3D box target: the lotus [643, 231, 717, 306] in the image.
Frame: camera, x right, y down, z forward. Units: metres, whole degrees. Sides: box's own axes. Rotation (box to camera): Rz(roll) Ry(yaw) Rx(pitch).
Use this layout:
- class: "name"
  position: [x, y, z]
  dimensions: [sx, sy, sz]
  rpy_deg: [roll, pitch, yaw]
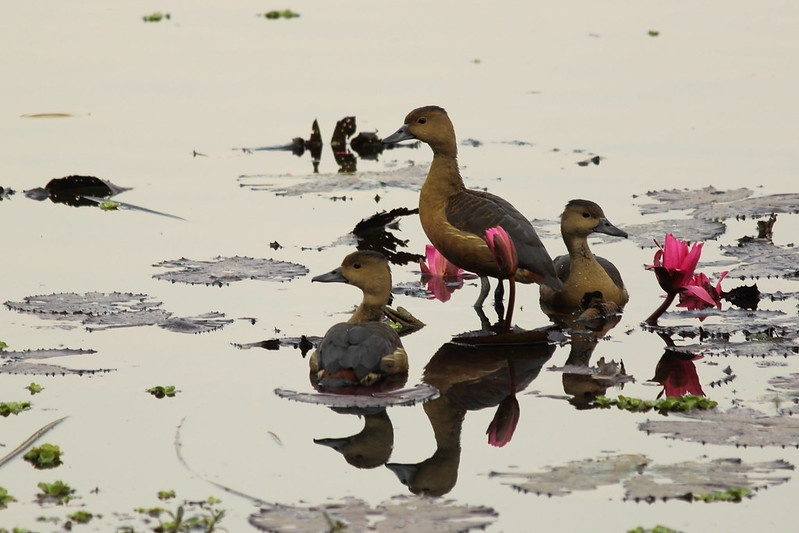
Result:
- class: "lotus"
  position: [3.150, 0.053, 13.410]
  dimensions: [1.173, 0.558, 1.264]
  rpy_deg: [0, -6, 8]

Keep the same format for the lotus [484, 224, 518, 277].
- class: "lotus"
  position: [1.098, -0.151, 13.158]
  dimensions: [0.238, 0.510, 0.259]
  rpy_deg: [-15, -3, 10]

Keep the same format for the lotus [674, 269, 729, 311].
- class: "lotus"
  position: [3.403, 0.204, 14.102]
  dimensions: [0.637, 0.244, 0.634]
  rpy_deg: [0, 24, 32]

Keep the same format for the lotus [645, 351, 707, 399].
- class: "lotus"
  position: [2.863, 1.127, 12.756]
  dimensions: [0.521, 0.479, 1.095]
  rpy_deg: [-13, -4, 11]
